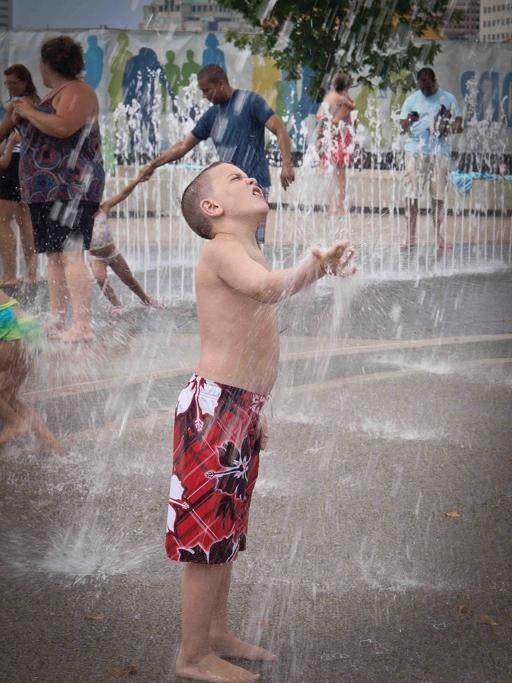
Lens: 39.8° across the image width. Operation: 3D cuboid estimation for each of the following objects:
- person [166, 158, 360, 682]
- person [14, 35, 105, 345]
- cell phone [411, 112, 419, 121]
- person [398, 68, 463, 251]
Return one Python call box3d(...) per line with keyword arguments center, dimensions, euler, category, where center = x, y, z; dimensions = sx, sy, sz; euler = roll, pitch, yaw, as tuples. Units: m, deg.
box3d(center=(0.007, 0.126, 1.308), dimensions=(0.323, 0.895, 0.375), euler=(0, 11, 2), category="person")
box3d(center=(-1.003, -0.760, 3.602), dimensions=(0.418, 1.524, 0.381), euler=(-1, 11, -7), category="person")
box3d(center=(1.407, -1.983, 6.230), dimensions=(0.065, 0.042, 0.090), euler=(2, -13, 10), category="cell phone")
box3d(center=(1.662, -1.702, 6.779), dimensions=(0.557, 1.759, 1.187), euler=(2, 12, 12), category="person")
